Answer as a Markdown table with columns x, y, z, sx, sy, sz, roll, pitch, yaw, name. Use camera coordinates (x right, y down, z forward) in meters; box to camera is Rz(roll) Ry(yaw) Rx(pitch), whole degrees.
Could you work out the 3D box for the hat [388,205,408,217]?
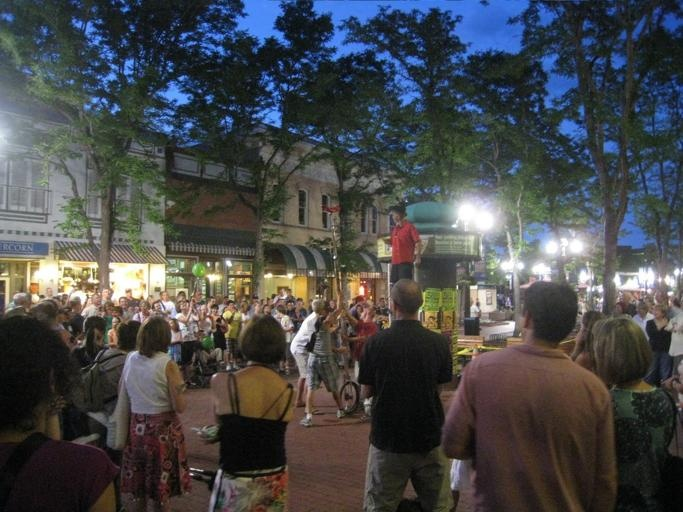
| x | y | z | sx | sy | sz | roll | pitch | yaw | name |
| --- | --- | --- | --- | --- | --- | --- | --- | --- | --- |
| 1.041 | -0.751 | 10.643 | 0.253 | 0.094 | 0.212 | 24 | -7 | -25 | hat |
